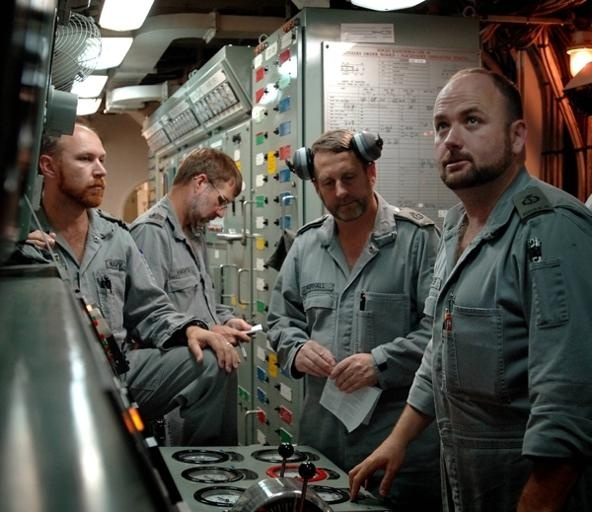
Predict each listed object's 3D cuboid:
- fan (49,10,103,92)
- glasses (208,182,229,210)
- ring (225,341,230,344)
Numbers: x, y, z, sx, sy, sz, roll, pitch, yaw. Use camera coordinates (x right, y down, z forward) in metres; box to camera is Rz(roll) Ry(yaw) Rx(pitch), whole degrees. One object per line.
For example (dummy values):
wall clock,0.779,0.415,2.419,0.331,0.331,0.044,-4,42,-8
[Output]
fan,-1.433,-1.367,3.165,0.260,0.429,0.658,10,3,-25
glasses,-0.575,-0.423,3.402,0.047,0.148,0.147,-34,-26,16
ring,-0.364,0.453,2.531,0.032,0.030,0.008,-4,-7,28
